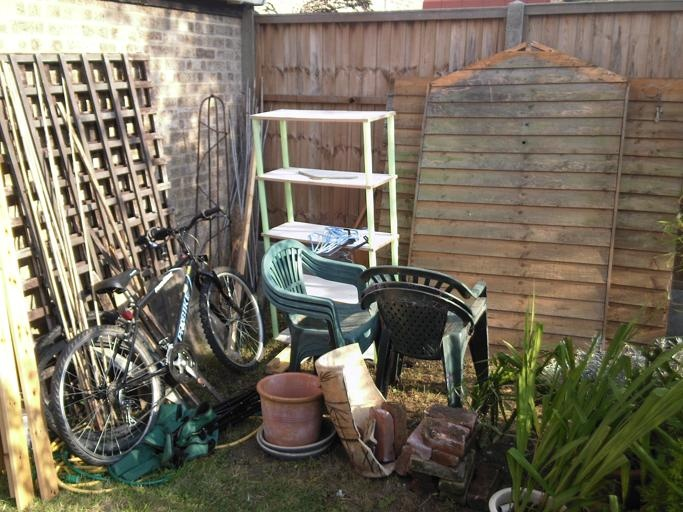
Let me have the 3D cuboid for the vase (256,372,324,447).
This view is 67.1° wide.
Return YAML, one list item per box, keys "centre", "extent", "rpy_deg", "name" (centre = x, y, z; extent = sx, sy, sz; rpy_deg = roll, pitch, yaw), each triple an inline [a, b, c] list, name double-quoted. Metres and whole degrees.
- centre: [-0.274, 0.972, 3.330]
  extent: [0.442, 0.298, 0.443]
  rpy_deg: [8, 14, 35]
  name: "vase"

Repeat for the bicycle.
- centre: [-1.307, 0.449, 3.726]
  extent: [0.813, 1.400, 1.811]
  rpy_deg: [7, 18, 21]
  name: "bicycle"

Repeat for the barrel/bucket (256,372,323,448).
- centre: [-0.285, 0.976, 3.344]
  extent: [0.447, 0.302, 0.437]
  rpy_deg: [-1, 10, 0]
  name: "barrel/bucket"
